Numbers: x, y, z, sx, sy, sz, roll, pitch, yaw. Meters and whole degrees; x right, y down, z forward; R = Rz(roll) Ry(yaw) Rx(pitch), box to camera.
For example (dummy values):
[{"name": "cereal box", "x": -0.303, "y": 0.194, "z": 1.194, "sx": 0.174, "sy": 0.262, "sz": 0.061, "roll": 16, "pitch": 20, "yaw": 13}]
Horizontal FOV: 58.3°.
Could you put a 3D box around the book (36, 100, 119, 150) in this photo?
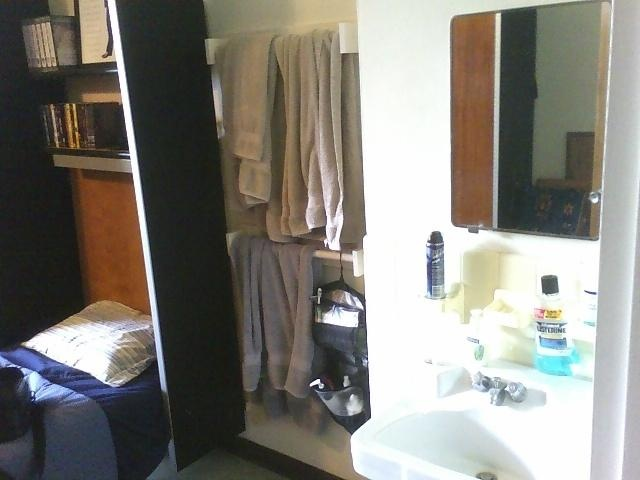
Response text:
[{"name": "book", "x": -1.140, "y": -0.544, "z": 2.735, "sx": 0.490, "sy": 0.218, "sz": 0.147, "roll": 6, "pitch": 15, "yaw": 24}]

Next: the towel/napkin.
[{"name": "towel/napkin", "x": -0.147, "y": -0.037, "z": 2.293, "sx": 0.630, "sy": 1.497, "sz": 0.195, "roll": 11, "pitch": 18, "yaw": 40}]

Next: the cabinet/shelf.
[{"name": "cabinet/shelf", "x": -1.054, "y": -0.547, "z": 2.727, "sx": 0.551, "sy": 0.563, "sz": 0.134, "roll": 9, "pitch": 17, "yaw": 33}]

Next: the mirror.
[{"name": "mirror", "x": 0.543, "y": -0.311, "z": 1.541, "sx": 0.428, "sy": 0.603, "sz": 0.041, "roll": 9, "pitch": 16, "yaw": 34}]

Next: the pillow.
[{"name": "pillow", "x": -1.007, "y": 0.463, "z": 2.704, "sx": 0.663, "sy": 0.147, "sz": 0.479, "roll": 9, "pitch": 16, "yaw": 34}]
